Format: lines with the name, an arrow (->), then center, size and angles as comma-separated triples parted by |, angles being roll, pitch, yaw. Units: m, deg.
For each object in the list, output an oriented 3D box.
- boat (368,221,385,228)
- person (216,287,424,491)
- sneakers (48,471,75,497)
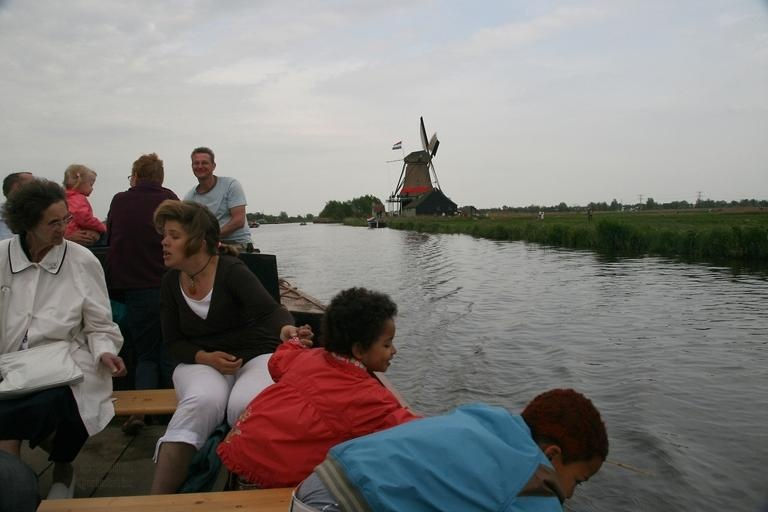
boat -> -1.271, -5.614, 95.955 | 2.503, 0.584, 2.254 | 1, 0, -3
person -> -0.404, 0.806, 4.109 | 1.526, 1.340, 1.132 | 3, 24, -37
sneakers -> -2.564, 1.886, 4.302 | 0.189, 0.167, 0.230 | -6, 9, -29
